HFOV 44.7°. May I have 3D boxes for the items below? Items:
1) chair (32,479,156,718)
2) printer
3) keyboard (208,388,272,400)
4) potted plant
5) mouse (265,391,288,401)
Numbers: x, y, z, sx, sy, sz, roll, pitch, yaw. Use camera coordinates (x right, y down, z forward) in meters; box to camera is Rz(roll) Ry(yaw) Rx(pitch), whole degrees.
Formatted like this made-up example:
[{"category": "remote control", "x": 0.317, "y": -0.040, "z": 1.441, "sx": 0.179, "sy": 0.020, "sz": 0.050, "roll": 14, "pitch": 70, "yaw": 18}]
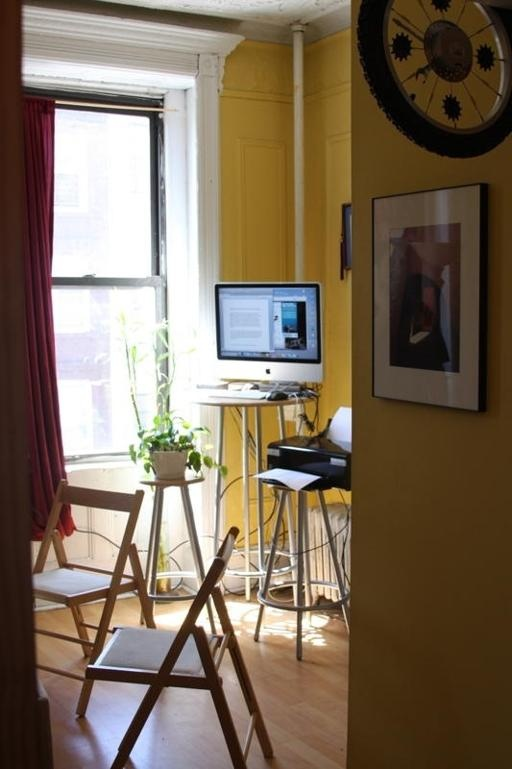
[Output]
[{"category": "chair", "x": -0.799, "y": 1.006, "z": 2.945, "sx": 0.451, "sy": 1.043, "sz": 0.549, "roll": 2, "pitch": 3, "yaw": 17}, {"category": "printer", "x": 0.257, "y": 0.419, "z": 3.348, "sx": 0.442, "sy": 0.243, "sz": 0.527, "roll": -1, "pitch": 1, "yaw": 1}, {"category": "keyboard", "x": -0.095, "y": 0.058, "z": 3.611, "sx": 0.408, "sy": 0.044, "sz": 0.244, "roll": 0, "pitch": 1, "yaw": 30}, {"category": "potted plant", "x": -0.491, "y": 0.367, "z": 3.791, "sx": 0.548, "sy": 0.394, "sz": 0.692, "roll": -1, "pitch": 1, "yaw": -14}, {"category": "mouse", "x": 0.125, "y": 0.065, "z": 3.483, "sx": 0.131, "sy": 0.046, "sz": 0.073, "roll": -1, "pitch": 1, "yaw": -17}]
